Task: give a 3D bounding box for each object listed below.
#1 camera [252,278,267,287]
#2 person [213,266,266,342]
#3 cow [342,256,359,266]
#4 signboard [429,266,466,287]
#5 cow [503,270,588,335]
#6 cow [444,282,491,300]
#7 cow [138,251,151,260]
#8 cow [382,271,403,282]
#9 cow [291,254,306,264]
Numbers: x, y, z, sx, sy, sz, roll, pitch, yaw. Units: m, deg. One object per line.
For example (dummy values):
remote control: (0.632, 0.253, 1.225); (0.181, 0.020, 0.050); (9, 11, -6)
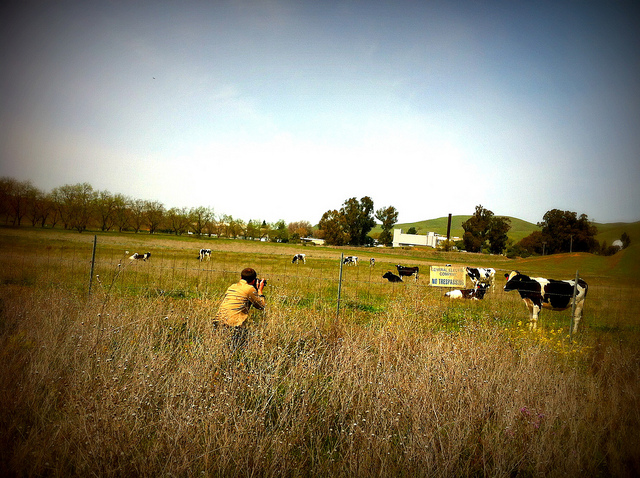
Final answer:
camera: (-1.394, 0.974, 10.017); (0.199, 0.256, 0.090); (5, -5, 4)
person: (-1.703, 1.305, 9.350); (0.922, 1.539, 1.664); (4, 0, 10)
cow: (2.837, 1.942, 41.859); (1.108, 0.817, 2.927); (5, 0, 2)
signboard: (3.492, 1.015, 12.314); (0.910, 0.490, 0.587); (6, 0, 27)
cow: (7.185, 1.887, 14.221); (2.126, 1.507, 3.381); (5, 0, 17)
cow: (6.256, 2.284, 19.254); (1.486, 0.608, 0.642); (6, 0, 19)
cow: (-11.597, 1.031, 29.415); (0.708, 0.540, 1.513); (5, 0, -25)
cow: (4.179, 2.186, 26.187); (0.428, 0.742, 1.181); (3, 6, -44)
cow: (-1.904, 1.589, 38.786); (1.010, 0.750, 3.156); (5, 0, -4)
